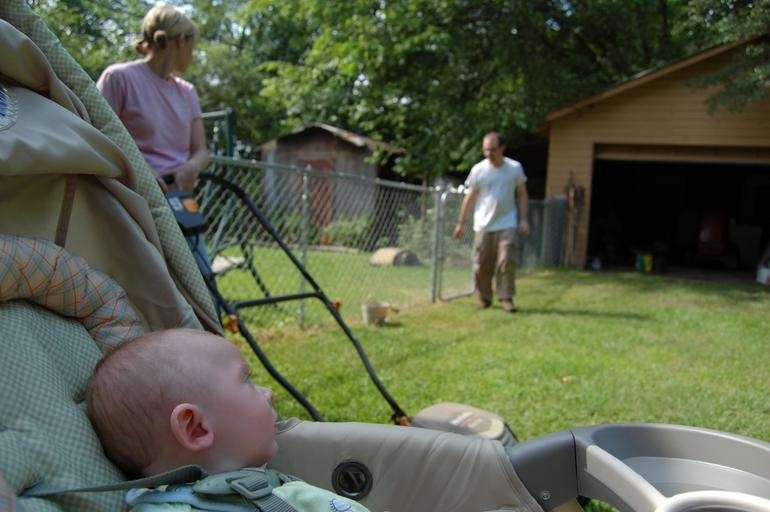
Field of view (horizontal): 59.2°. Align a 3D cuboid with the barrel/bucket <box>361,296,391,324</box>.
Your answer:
[{"bbox_3d":[-0.078,0.454,5.589,0.160,0.171,0.207,0,11,-1],"label":"barrel/bucket"}]

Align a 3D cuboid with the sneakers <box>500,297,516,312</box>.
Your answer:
[{"bbox_3d":[1.126,0.452,6.256,0.067,0.171,0.216,0,-2,-12],"label":"sneakers"}]

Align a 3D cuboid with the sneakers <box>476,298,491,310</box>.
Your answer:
[{"bbox_3d":[0.932,0.438,6.350,0.138,0.156,0.074,-3,8,-32],"label":"sneakers"}]
